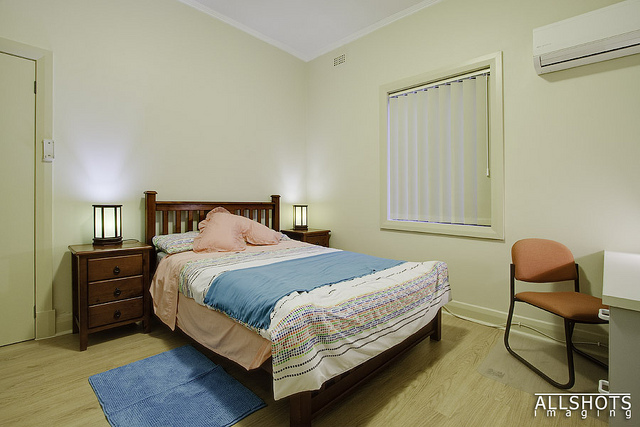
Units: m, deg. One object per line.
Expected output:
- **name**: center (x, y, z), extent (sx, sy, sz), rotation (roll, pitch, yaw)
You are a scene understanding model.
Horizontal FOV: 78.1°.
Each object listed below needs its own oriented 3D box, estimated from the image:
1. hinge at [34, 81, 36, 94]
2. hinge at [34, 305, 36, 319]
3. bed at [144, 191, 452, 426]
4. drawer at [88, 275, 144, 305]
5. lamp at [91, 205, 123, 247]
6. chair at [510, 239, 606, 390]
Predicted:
- **hinge**: center (-2.955, -1.308, 4.084), extent (0.018, 0.119, 0.005), rotation (-5, 3, -39)
- **hinge**: center (-2.959, 1.015, 4.091), extent (0.014, 0.132, 0.014), rotation (-3, 2, -3)
- **bed**: center (-0.427, 0.659, 4.241), extent (2.867, 1.962, 1.989), rotation (-1, 3, 43)
- **drawer**: center (-2.084, 0.874, 4.345), extent (0.651, 0.261, 0.664), rotation (-7, -18, -9)
- **lamp**: center (-2.312, 0.104, 4.291), extent (0.325, 0.477, 0.326), rotation (17, 17, 38)
- **chair**: center (2.208, 0.881, 3.762), extent (0.771, 1.223, 0.833), rotation (-2, 3, 32)
